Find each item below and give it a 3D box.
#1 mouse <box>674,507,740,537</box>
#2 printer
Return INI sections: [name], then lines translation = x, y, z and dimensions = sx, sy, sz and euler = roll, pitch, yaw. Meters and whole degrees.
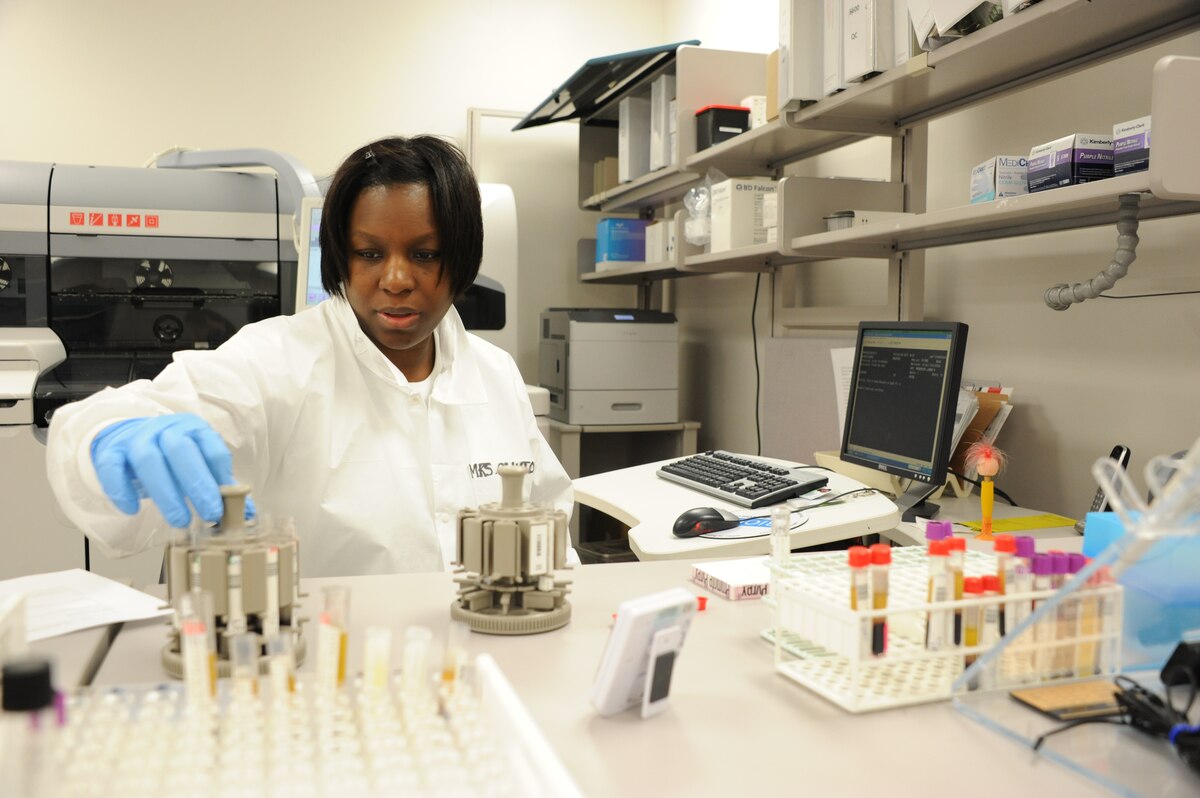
[mouse]
translation = 0.224, 0.265, 1.887
dimensions = 0.119, 0.040, 0.061
euler = -8, 12, -21
[printer]
translation = 0.022, -0.124, 3.633
dimensions = 0.508, 0.443, 0.468
euler = -1, 2, -21
